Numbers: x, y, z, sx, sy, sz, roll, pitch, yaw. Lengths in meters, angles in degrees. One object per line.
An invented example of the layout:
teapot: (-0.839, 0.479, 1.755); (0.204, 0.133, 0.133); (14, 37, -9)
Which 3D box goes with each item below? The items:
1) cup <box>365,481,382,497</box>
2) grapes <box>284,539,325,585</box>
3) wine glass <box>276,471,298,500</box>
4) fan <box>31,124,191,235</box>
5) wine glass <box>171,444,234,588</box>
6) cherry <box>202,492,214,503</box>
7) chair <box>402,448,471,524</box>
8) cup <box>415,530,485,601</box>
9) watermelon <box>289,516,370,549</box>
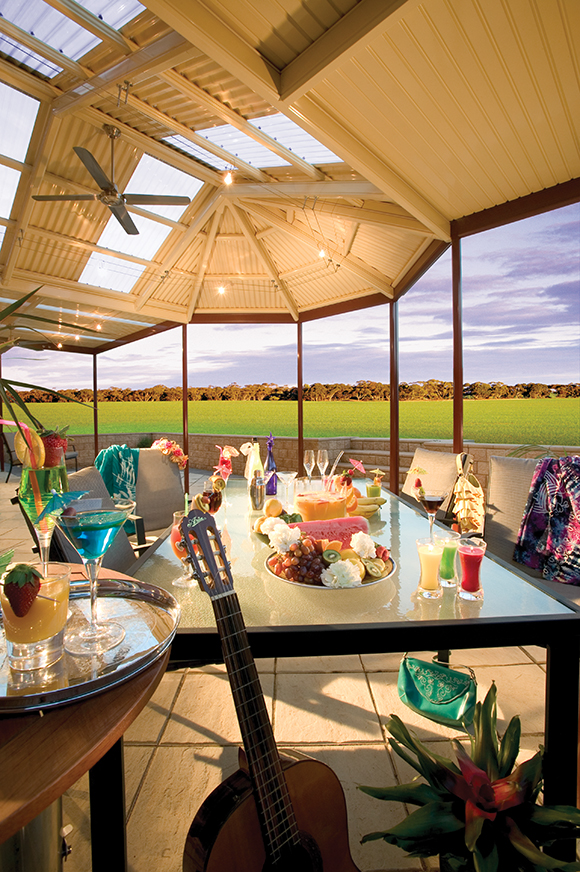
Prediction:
cup: (0.371, 0.231, 2.389); (0.062, 0.066, 0.061); (1, -1, 0)
grapes: (0.030, 0.286, 1.256); (0.064, 0.053, 0.109); (-4, 11, 6)
wine glass: (-0.013, 0.218, 2.444); (0.123, 0.147, 0.124); (0, -3, -2)
fan: (-1.205, -1.732, 3.561); (0.573, 0.336, 0.573); (-13, 13, -4)
wine glass: (-0.261, 0.225, 1.652); (0.198, 0.414, 0.203); (3, 3, -5)
cherry: (-0.234, 0.172, 1.526); (0.028, 0.030, 0.028); (0, -2, -5)
chair: (0.685, 0.189, 2.763); (0.306, 0.444, 0.303); (3, 3, -27)
cup: (0.366, 0.289, 1.258); (0.157, 0.130, 0.131); (0, 6, 0)
watermelon: (0.114, 0.248, 1.473); (0.179, 0.067, 0.183); (4, 2, -25)
